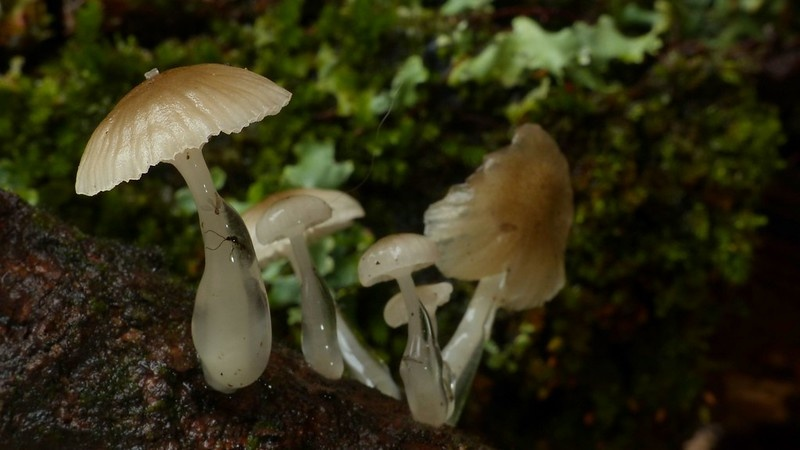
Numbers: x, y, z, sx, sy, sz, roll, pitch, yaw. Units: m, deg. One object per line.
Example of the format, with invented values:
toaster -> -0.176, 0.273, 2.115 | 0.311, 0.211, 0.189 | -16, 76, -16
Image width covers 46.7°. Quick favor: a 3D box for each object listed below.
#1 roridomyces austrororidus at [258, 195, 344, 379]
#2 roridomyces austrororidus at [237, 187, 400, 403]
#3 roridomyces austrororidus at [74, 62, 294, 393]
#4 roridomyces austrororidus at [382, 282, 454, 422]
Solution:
roridomyces austrororidus -> -0.681, 0.524, 7.100 | 0.542, 1.476, 0.593 | -12, 0, -43
roridomyces austrororidus -> -0.596, 0.517, 7.608 | 1.613, 2.172, 0.890 | 4, 4, 44
roridomyces austrororidus -> -1.632, -0.058, 7.212 | 1.232, 2.656, 2.139 | 0, 3, -21
roridomyces austrororidus -> 0.167, 0.945, 7.001 | 0.298, 1.284, 0.341 | 0, 2, 8
